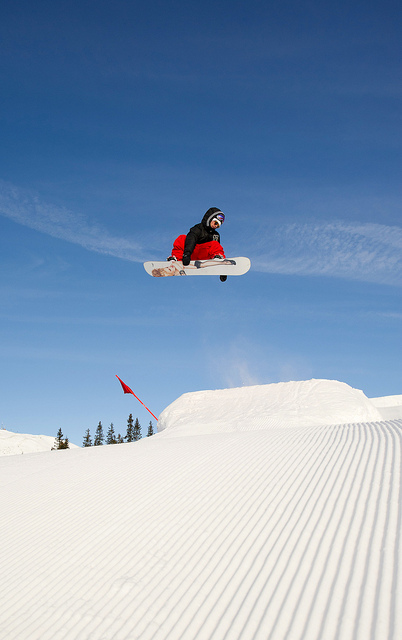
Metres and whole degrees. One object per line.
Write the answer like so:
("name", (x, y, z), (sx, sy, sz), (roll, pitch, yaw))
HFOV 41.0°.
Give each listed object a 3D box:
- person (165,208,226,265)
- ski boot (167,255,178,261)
("person", (-0.052, -2.200, 14.558), (1.332, 1.509, 0.814), (-4, -8, -11))
("ski boot", (-0.765, -1.662, 14.536), (0.271, 0.145, 0.232), (-5, -8, -5))
